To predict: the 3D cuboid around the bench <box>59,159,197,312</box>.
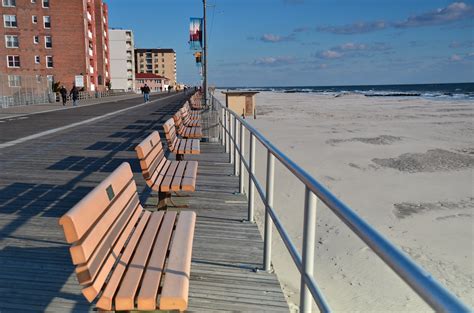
[{"bbox_3d":[-1.000,0.775,3.351,0.740,0.617,1.381,1,18,-5],"label":"bench"}]
